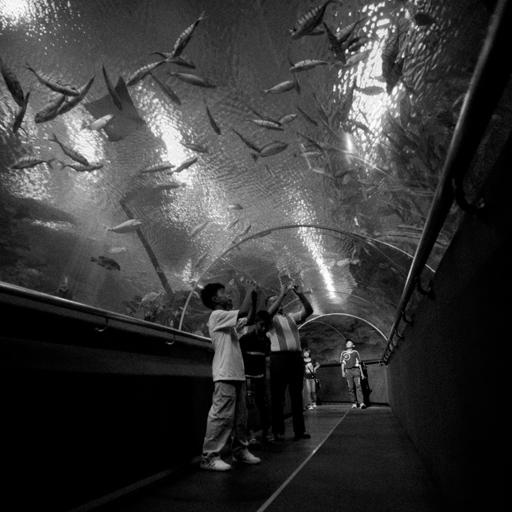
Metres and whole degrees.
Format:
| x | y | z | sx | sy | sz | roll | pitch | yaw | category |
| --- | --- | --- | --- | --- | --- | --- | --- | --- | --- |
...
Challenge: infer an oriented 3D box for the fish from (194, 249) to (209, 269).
| x | y | z | sx | sy | sz | roll | pitch | yaw | category |
| --- | --- | --- | --- | --- | --- | --- | --- | --- | --- |
| -1.585 | 0.072 | 10.442 | 0.097 | 0.528 | 0.199 | 9 | -21 | 42 | fish |

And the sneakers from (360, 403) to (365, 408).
| x | y | z | sx | sy | sz | roll | pitch | yaw | category |
| --- | --- | --- | --- | --- | --- | --- | --- | --- | --- |
| 4.347 | 6.077 | 14.659 | 0.173 | 0.074 | 0.143 | 4 | -11 | -16 | sneakers |

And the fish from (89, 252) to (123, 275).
| x | y | z | sx | sy | sz | roll | pitch | yaw | category |
| --- | --- | --- | --- | --- | --- | --- | --- | --- | --- |
| -3.495 | 0.175 | 8.532 | 0.246 | 0.225 | 0.905 | -11 | -30 | 24 | fish |

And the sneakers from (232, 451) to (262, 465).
| x | y | z | sx | sy | sz | roll | pitch | yaw | category |
| --- | --- | --- | --- | --- | --- | --- | --- | --- | --- |
| -0.111 | 2.419 | 4.356 | 0.396 | 0.187 | 0.144 | -15 | -29 | 25 | sneakers |

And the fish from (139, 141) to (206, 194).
| x | y | z | sx | sy | sz | roll | pitch | yaw | category |
| --- | --- | --- | --- | --- | --- | --- | --- | --- | --- |
| -1.773 | -1.880 | 7.540 | 1.152 | 0.129 | 0.487 | -26 | -42 | -5 | fish |

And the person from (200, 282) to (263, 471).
| x | y | z | sx | sy | sz | roll | pitch | yaw | category |
| --- | --- | --- | --- | --- | --- | --- | --- | --- | --- |
| -0.332 | 1.385 | 4.372 | 0.784 | 2.108 | 1.115 | 1 | -25 | 1 | person |

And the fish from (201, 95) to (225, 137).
| x | y | z | sx | sy | sz | roll | pitch | yaw | category |
| --- | --- | --- | --- | --- | --- | --- | --- | --- | --- |
| -0.814 | -2.575 | 6.745 | 0.159 | 0.132 | 0.665 | -15 | -48 | 10 | fish |

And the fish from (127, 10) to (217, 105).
| x | y | z | sx | sy | sz | roll | pitch | yaw | category |
| --- | --- | --- | --- | --- | --- | --- | --- | --- | --- |
| -1.329 | -3.063 | 5.916 | 1.496 | 0.520 | 0.741 | -15 | -31 | 28 | fish |

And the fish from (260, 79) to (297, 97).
| x | y | z | sx | sy | sz | roll | pitch | yaw | category |
| --- | --- | --- | --- | --- | --- | --- | --- | --- | --- |
| 0.477 | -2.849 | 6.146 | 0.365 | 0.124 | 0.213 | -3 | 10 | 32 | fish |

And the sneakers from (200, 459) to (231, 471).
| x | y | z | sx | sy | sz | roll | pitch | yaw | category |
| --- | --- | --- | --- | --- | --- | --- | --- | --- | --- |
| -0.423 | 2.300 | 4.027 | 0.363 | 0.168 | 0.149 | -9 | -33 | 18 | sneakers |

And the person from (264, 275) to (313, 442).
| x | y | z | sx | sy | sz | roll | pitch | yaw | category |
| --- | --- | --- | --- | --- | --- | --- | --- | --- | --- |
| 0.605 | 1.843 | 6.331 | 0.776 | 2.609 | 0.751 | -1 | -13 | -8 | person |
